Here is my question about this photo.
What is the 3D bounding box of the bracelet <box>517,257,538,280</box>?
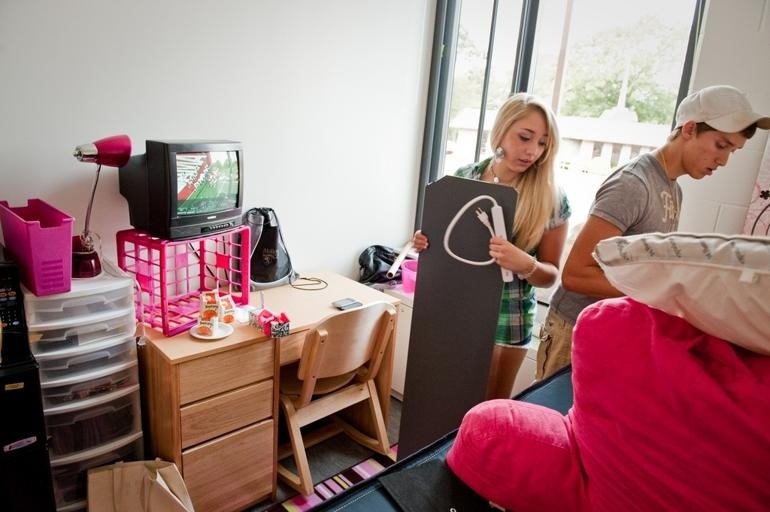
[{"bbox_3d":[0.595,0.053,2.089,0.036,0.092,0.071,31,50,-2],"label":"bracelet"}]

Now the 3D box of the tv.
[{"bbox_3d":[-0.887,-0.271,2.278,0.477,0.430,0.494,18,23,25],"label":"tv"}]

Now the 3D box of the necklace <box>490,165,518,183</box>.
[{"bbox_3d":[0.534,-0.361,2.203,0.094,0.064,0.072,24,26,30],"label":"necklace"}]

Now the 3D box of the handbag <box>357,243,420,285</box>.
[{"bbox_3d":[-0.022,0.034,3.219,0.254,0.119,0.298,-17,19,-40],"label":"handbag"}]

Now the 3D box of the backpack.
[{"bbox_3d":[-0.602,-0.055,2.721,0.417,0.469,0.265,-13,25,-32],"label":"backpack"}]

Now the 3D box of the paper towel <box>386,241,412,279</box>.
[{"bbox_3d":[0.084,0.034,3.172,0.050,0.050,0.350,-35,15,40],"label":"paper towel"}]

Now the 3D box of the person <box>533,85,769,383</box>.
[{"bbox_3d":[1.014,-0.024,1.933,0.747,1.226,0.390,-3,18,-13],"label":"person"}]

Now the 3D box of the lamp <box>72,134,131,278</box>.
[{"bbox_3d":[-1.259,-0.237,2.134,0.291,0.565,0.343,-11,21,-33],"label":"lamp"}]
